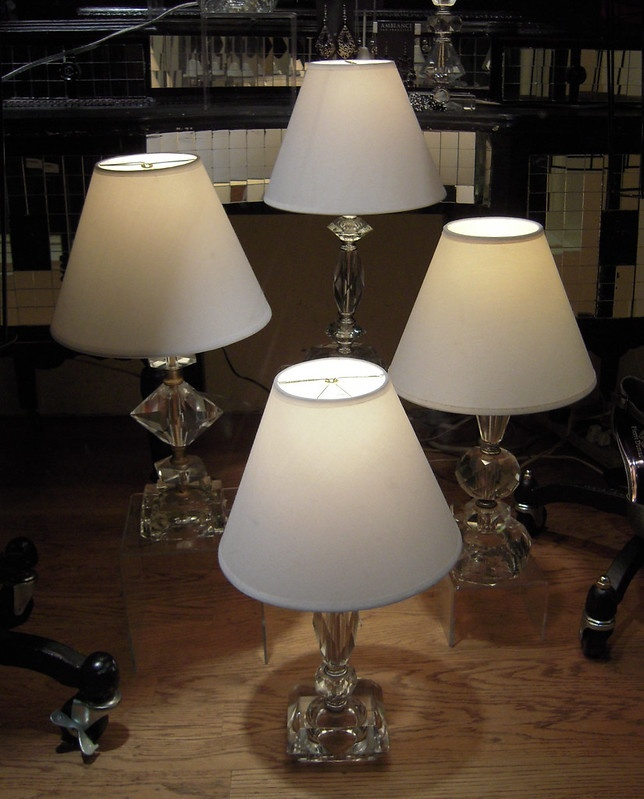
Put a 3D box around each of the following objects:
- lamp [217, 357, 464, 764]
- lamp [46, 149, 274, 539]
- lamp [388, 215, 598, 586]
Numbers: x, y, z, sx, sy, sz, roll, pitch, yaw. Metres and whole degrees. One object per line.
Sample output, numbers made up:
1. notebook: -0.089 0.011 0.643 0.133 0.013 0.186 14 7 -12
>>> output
1. lamp: 0.021 0.263 0.909 0.272 0.649 0.371 -5 18 -6
2. lamp: -0.246 -0.072 1.214 0.367 0.578 0.375 16 25 42
3. lamp: 0.265 0.009 1.166 0.333 0.519 0.302 -2 19 4
